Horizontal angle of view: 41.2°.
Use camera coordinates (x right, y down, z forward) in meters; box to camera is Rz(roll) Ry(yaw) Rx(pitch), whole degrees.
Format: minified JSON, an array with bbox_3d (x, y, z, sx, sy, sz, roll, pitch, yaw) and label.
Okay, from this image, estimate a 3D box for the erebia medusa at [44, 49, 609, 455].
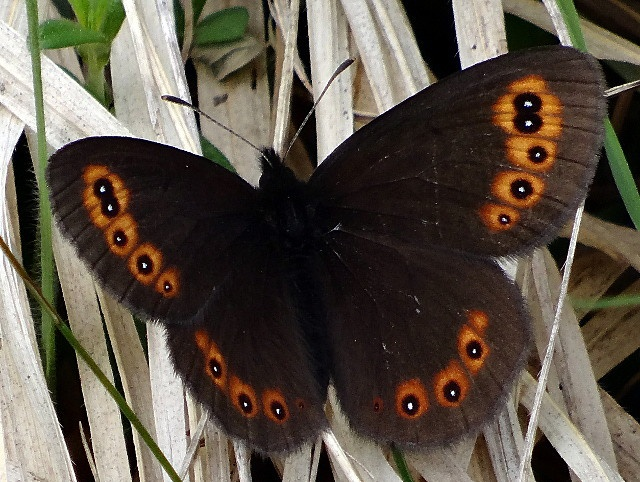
[{"bbox_3d":[0.007,0.048,1.472,0.912,0.310,0.614,-1,75,10],"label":"erebia medusa"}]
